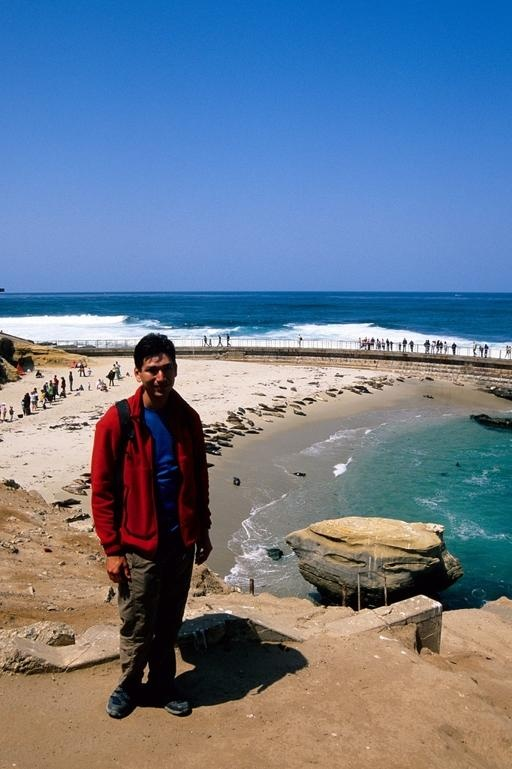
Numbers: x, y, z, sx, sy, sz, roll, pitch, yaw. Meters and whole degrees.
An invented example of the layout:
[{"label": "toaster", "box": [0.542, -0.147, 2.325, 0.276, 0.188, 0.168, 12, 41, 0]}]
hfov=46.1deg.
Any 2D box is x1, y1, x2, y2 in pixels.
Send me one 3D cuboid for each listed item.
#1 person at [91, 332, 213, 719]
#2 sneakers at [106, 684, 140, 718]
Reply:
[{"label": "person", "box": [-0.530, 0.720, 3.115, 0.309, 1.290, 0.693, 2, -5, 44]}, {"label": "sneakers", "box": [-0.690, 1.624, 3.067, 0.074, 0.079, 0.200, -1, -12, 3]}]
